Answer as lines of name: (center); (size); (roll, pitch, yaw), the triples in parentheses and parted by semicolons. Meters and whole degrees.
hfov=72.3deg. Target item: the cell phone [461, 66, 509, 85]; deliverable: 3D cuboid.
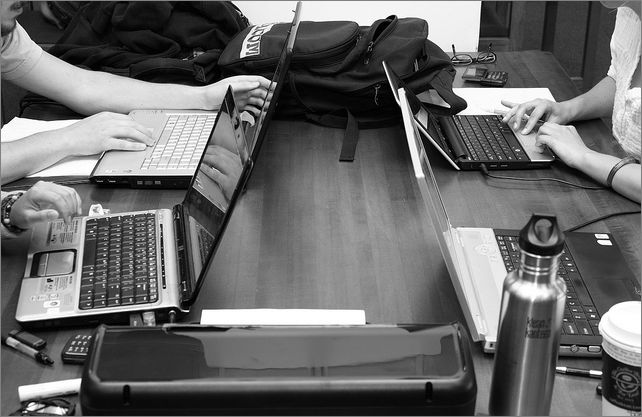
cell phone: (0.682, -0.548, 1.829); (0.141, 0.031, 0.102); (8, 44, 13)

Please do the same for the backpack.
backpack: (0.092, -0.404, 1.832); (0.721, 0.245, 0.704); (-2, 49, -1)

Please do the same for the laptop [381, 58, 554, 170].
laptop: (0.480, -0.271, 1.467); (0.520, 0.207, 0.384); (-7, 42, -1)

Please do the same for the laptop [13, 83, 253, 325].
laptop: (-0.441, -0.005, 1.040); (0.491, 0.322, 0.445); (-4, 29, -19)
